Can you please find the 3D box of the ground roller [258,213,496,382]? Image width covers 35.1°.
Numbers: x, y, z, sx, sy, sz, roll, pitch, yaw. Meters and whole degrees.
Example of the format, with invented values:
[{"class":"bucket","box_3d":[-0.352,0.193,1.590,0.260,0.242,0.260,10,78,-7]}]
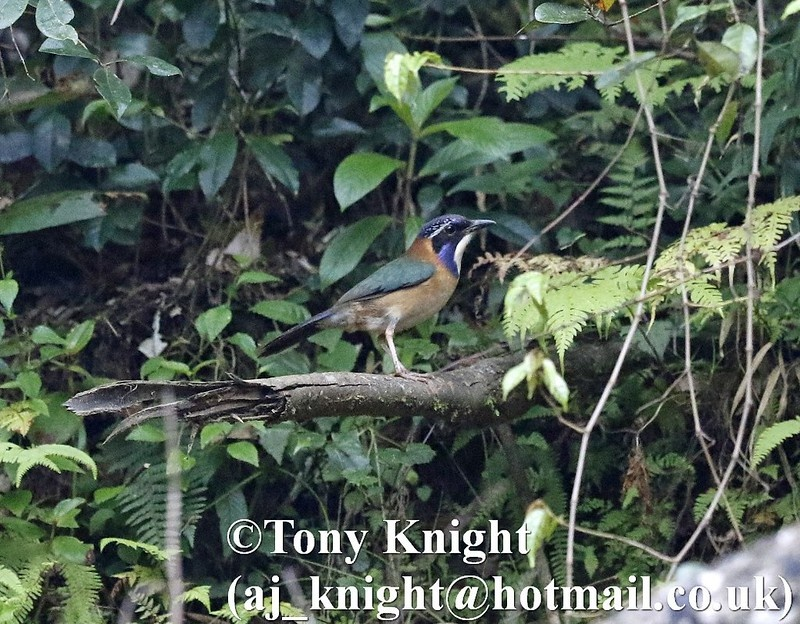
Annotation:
[{"class":"ground roller","box_3d":[-0.143,-0.090,7.719,1.314,0.461,0.970,-3,83,8]}]
